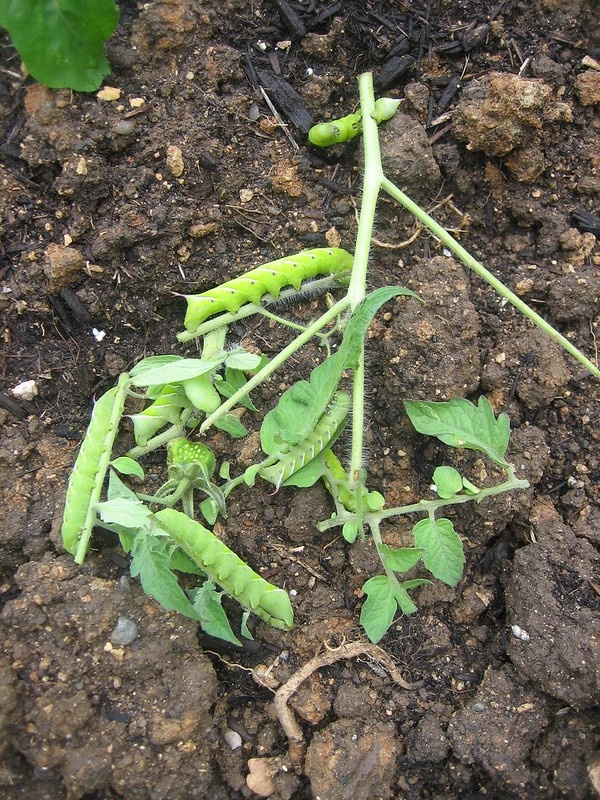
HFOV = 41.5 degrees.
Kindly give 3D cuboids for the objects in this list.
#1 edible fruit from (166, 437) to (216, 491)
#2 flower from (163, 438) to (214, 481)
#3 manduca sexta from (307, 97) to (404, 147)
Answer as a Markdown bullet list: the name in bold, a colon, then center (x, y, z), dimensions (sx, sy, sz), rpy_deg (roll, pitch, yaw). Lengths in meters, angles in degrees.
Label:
- **edible fruit**: center (-0.370, 0.228, 2.807), dimensions (0.164, 0.152, 0.098), rpy_deg (-6, 12, 32)
- **flower**: center (-0.389, 0.197, 2.814), dimensions (0.152, 0.093, 0.160), rpy_deg (41, 23, 24)
- **manduca sexta**: center (0.214, -1.068, 3.053), dimensions (0.382, 0.116, 0.112), rpy_deg (-25, 66, -1)
